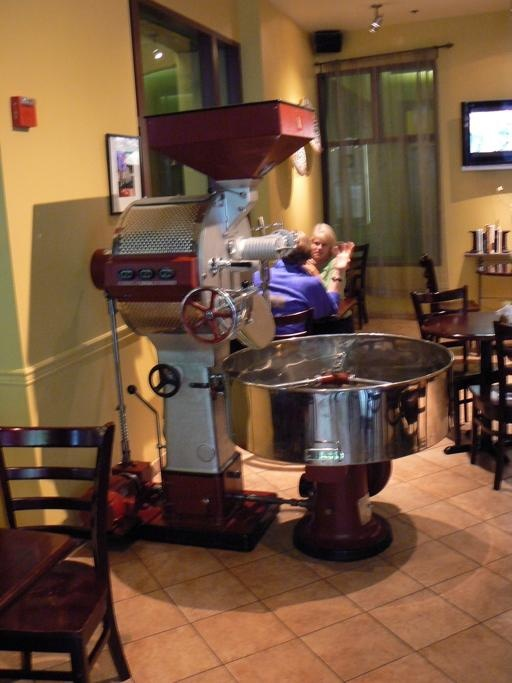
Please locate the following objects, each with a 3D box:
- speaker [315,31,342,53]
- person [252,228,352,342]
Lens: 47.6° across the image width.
[{"bbox_3d":[0.786,-3.257,6.319,0.373,0.222,0.224,0,24,5],"label":"speaker"},{"bbox_3d":[0.282,-0.328,3.287,0.389,0.543,0.848,-3,8,17],"label":"person"}]
